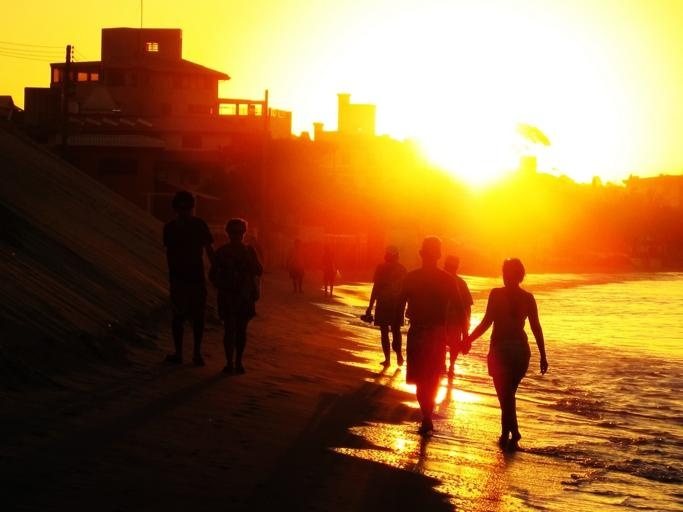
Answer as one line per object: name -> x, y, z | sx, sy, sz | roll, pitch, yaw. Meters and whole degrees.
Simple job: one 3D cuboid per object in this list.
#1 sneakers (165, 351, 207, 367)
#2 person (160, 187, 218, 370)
sneakers -> -2.182, 1.495, 11.710 | 0.603, 0.283, 0.217 | 5, 0, 0
person -> -2.148, 0.314, 11.617 | 0.791, 2.251, 1.307 | 8, 2, -9
